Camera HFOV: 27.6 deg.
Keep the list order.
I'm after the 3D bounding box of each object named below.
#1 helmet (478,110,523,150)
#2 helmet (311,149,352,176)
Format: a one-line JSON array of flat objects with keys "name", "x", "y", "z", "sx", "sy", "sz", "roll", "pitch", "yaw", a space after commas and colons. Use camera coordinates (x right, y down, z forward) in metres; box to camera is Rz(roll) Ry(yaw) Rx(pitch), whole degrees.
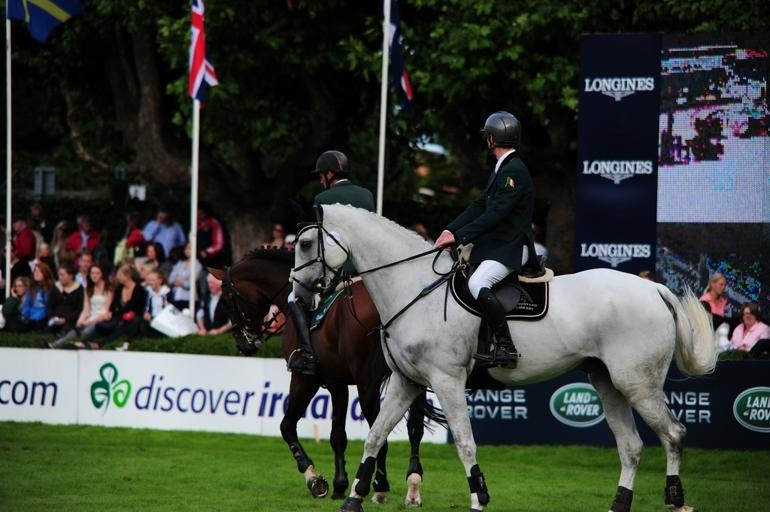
[{"name": "helmet", "x": 1.834, "y": -1.928, "z": 24.604, "sx": 0.464, "sy": 0.534, "sz": 0.587, "roll": -3, "pitch": 24, "yaw": -15}, {"name": "helmet", "x": -0.882, "y": -1.463, "z": 25.689, "sx": 0.468, "sy": 0.296, "sz": 0.358, "roll": 5, "pitch": 6, "yaw": 28}]
